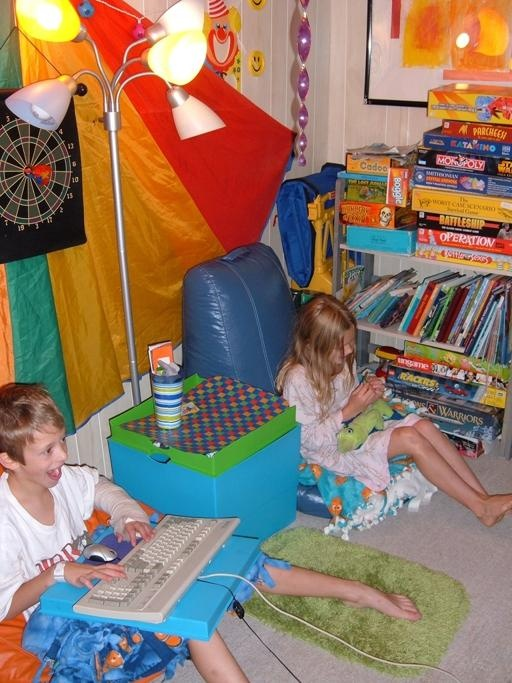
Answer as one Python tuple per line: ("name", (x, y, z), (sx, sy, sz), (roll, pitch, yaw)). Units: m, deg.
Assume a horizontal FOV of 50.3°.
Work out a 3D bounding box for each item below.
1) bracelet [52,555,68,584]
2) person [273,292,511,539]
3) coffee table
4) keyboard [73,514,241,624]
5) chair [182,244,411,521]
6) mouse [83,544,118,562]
("bracelet", (-0.347, 0.414, 0.977), (0.026, 0.034, 0.014), (3, -17, 10))
("person", (0.413, 0.260, 1.947), (0.844, 0.614, 0.734), (16, 42, 24))
("coffee table", (-0.150, 0.276, 1.755), (0.511, 0.495, 0.517), (15, 20, 38))
("keyboard", (-0.165, 0.390, 0.989), (0.152, 0.033, 0.324), (4, 16, 20))
("chair", (-0.042, -0.010, 2.256), (0.879, 0.943, 0.702), (25, 36, 29))
("mouse", (-0.297, 0.405, 1.039), (0.053, 0.017, 0.032), (5, 17, 4))
